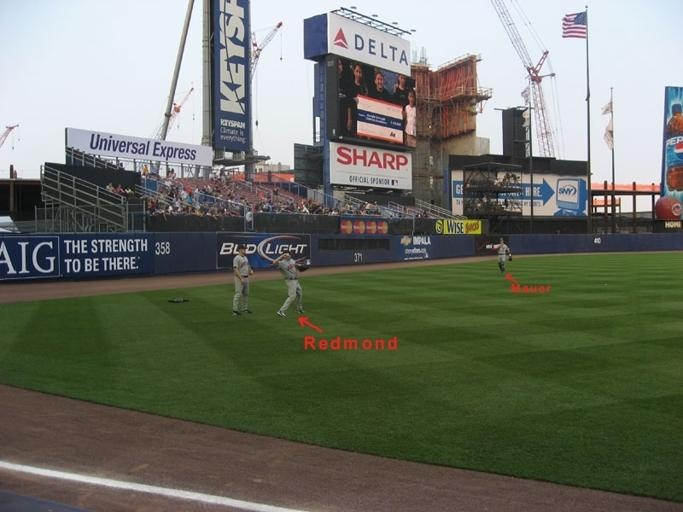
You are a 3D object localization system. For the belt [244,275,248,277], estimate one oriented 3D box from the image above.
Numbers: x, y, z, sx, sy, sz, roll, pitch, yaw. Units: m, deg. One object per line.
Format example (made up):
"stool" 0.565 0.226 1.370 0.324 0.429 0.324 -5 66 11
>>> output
"belt" -2.628 0.570 23.063 0.059 0.043 0.061 4 9 16

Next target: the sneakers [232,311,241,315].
"sneakers" -2.894 1.574 23.038 0.233 0.163 0.079 -1 8 10
